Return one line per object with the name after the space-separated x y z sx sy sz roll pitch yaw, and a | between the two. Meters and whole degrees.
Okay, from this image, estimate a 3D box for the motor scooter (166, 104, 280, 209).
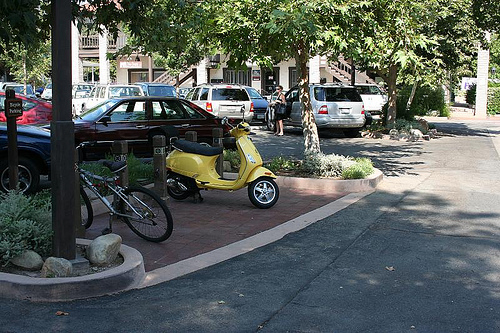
-0.658 -0.006 9.090 2.421 1.741 0.463 0 7 13 | motor scooter

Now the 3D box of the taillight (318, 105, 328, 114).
3.333 -2.611 19.981 0.334 0.378 0.418 -3 9 -14 | taillight

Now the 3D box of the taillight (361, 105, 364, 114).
5.332 -2.686 20.660 0.091 0.370 0.492 0 7 18 | taillight

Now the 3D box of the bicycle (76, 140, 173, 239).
-2.313 0.413 7.610 1.259 1.445 2.606 -5 8 -23 | bicycle

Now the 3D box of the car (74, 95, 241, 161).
-3.088 -1.032 12.529 4.560 1.522 2.042 0 2 -19 | car

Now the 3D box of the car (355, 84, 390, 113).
8.313 -4.639 30.096 3.268 1.690 1.909 -3 16 -5 | car

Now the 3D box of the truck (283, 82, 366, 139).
4.106 -3.003 22.274 5.221 2.966 4.484 -7 9 -39 | truck

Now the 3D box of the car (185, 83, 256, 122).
-1.384 -3.090 22.411 2.235 1.784 3.693 -3 18 -19 | car
